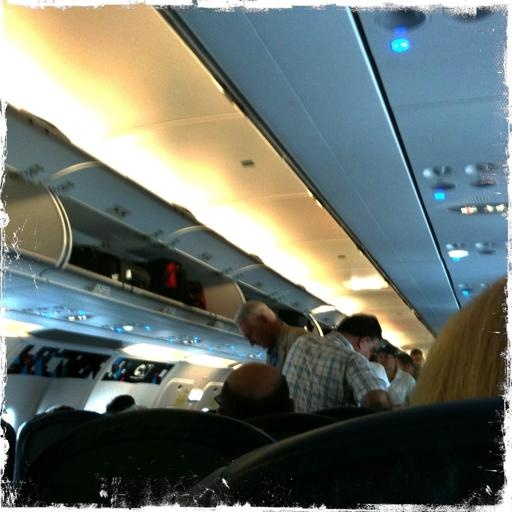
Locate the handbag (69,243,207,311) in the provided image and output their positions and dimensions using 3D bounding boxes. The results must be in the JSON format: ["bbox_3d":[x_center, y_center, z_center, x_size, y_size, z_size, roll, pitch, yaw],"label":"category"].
[{"bbox_3d":[-1.061,0.161,3.887,0.119,0.414,1.800,-6,-20,27],"label":"handbag"}]
